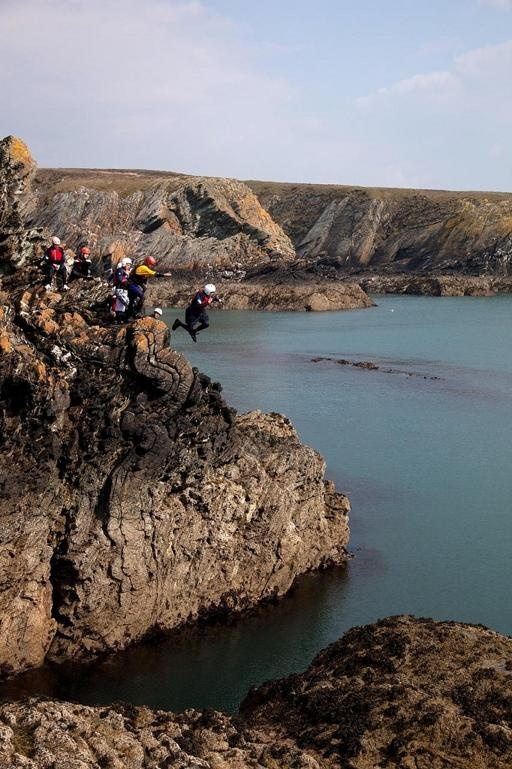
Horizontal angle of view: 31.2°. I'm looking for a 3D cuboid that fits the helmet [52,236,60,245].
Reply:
[{"bbox_3d":[-4.447,-3.180,20.407,0.182,0.139,0.256,6,19,-21],"label":"helmet"}]
